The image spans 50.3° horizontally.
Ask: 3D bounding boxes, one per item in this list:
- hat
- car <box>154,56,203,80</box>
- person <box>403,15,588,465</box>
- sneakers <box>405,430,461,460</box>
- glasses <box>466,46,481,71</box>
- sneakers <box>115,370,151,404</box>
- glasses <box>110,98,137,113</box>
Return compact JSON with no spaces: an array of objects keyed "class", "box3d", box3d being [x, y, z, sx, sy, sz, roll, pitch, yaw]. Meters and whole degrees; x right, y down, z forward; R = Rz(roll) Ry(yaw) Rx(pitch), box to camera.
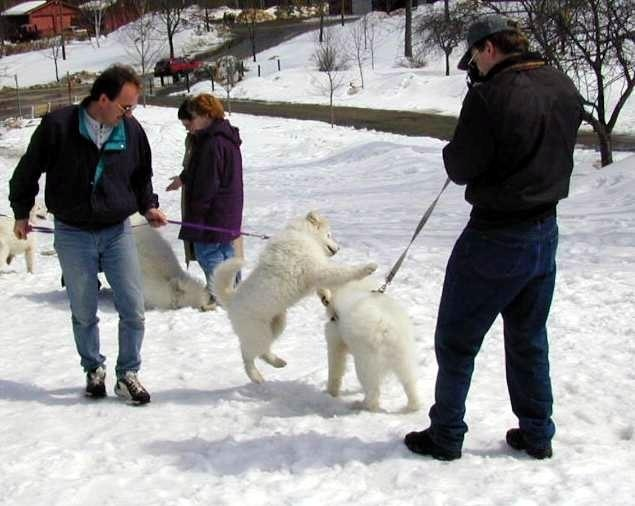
[{"class":"hat","box3d":[1.050,-1.357,4.361,0.436,0.205,0.309,-14,1,39]},{"class":"car","box3d":[-7.802,-10.055,36.619,1.670,0.669,2.217,3,10,22]},{"class":"person","box3d":[1.136,-0.074,4.312,1.043,2.797,0.784,-1,16,11]},{"class":"sneakers","box3d":[0.736,1.268,4.429,0.333,0.131,0.171,15,14,30]},{"class":"glasses","box3d":[0.990,-1.241,4.312,0.032,0.094,0.097,5,0,-1]},{"class":"sneakers","box3d":[-1.432,1.025,5.214,0.384,0.199,0.163,13,14,39]},{"class":"glasses","box3d":[-1.422,-1.074,4.968,0.121,0.036,0.119,43,29,14]}]
